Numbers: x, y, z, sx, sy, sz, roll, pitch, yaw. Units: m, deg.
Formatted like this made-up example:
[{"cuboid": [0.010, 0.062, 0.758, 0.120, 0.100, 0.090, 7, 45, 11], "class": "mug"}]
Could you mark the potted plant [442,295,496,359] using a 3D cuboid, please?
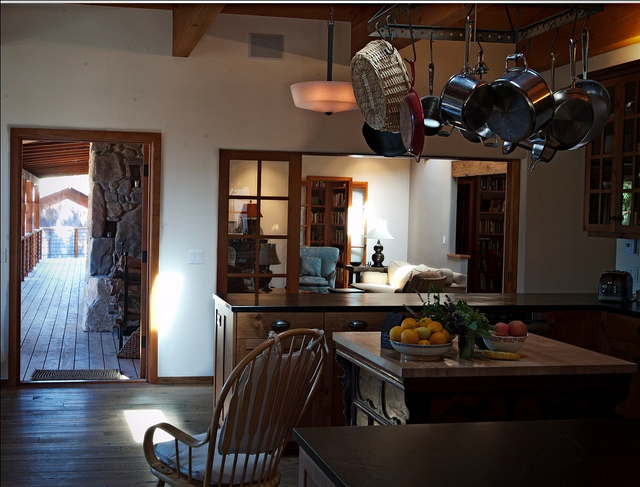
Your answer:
[{"cuboid": [0.723, 0.408, 2.464, 0.238, 0.275, 0.267, 10, -21, -33], "class": "potted plant"}]

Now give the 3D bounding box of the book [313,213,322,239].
[{"cuboid": [-0.070, -0.375, 10.587, 0.264, 0.518, 0.502, 0, 2, -4], "class": "book"}]

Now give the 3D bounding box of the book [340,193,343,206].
[{"cuboid": [0.441, -0.917, 10.318, 0.041, 0.246, 0.102, -2, 4, -26], "class": "book"}]

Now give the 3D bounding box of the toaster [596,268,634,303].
[{"cuboid": [2.569, 0.353, 4.412, 0.312, 0.342, 0.272, -4, 6, -40], "class": "toaster"}]

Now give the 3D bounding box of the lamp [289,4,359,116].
[{"cuboid": [0.036, -1.239, 3.348, 0.471, 0.696, 1.256, 0, 4, -2], "class": "lamp"}]

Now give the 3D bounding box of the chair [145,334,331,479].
[{"cuboid": [-0.377, 0.726, 2.184, 0.826, 0.659, 0.501, -1, 4, -2], "class": "chair"}]

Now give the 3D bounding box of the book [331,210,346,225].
[{"cuboid": [0.375, -0.521, 10.403, 0.256, 0.388, 0.373, 3, -4, -15], "class": "book"}]

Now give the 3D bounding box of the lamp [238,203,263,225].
[{"cuboid": [-0.787, -0.304, 5.338, 0.172, 0.254, 0.181, -1, 5, -6], "class": "lamp"}]

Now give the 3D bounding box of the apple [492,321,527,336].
[{"cuboid": [0.949, 0.412, 2.483, 0.133, 0.067, 0.080, -1, -1, -8], "class": "apple"}]

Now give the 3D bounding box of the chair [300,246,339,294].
[{"cuboid": [-0.065, 0.428, 8.345, 0.659, 0.833, 0.707, 0, -6, -3], "class": "chair"}]

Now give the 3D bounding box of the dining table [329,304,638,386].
[{"cuboid": [0.772, 0.460, 2.589, 1.253, 0.327, 0.660, -1, 4, -6], "class": "dining table"}]

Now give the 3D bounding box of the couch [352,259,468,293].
[{"cuboid": [1.329, 0.548, 7.520, 0.995, 0.428, 2.045, -2, 4, -20], "class": "couch"}]

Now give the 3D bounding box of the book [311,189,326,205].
[{"cuboid": [-0.055, -0.983, 10.551, 0.279, 0.317, 0.059, 0, 4, -1], "class": "book"}]

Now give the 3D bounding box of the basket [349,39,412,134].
[{"cuboid": [0.285, -0.780, 2.498, 0.252, 0.430, 0.423, -1, 4, -16], "class": "basket"}]

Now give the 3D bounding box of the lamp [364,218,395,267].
[{"cuboid": [1.167, 0.003, 10.017, 0.596, 0.959, 0.561, 1, -4, 22], "class": "lamp"}]
